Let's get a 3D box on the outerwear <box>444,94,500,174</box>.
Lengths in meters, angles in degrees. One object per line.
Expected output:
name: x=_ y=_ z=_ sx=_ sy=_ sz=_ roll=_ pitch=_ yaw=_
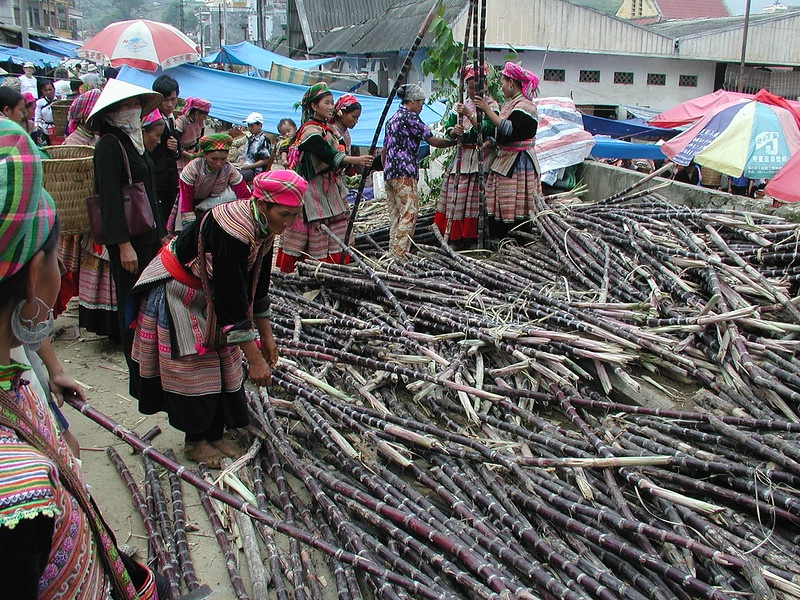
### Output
outerwear: x=0.706 y=-1.599 z=6.223 sx=0.468 sy=1.004 sz=0.523 roll=-5 pitch=8 yaw=3

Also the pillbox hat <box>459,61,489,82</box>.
pillbox hat: x=0.668 y=-2.142 z=6.017 sx=0.280 sy=0.163 sz=0.328 roll=-12 pitch=9 yaw=16

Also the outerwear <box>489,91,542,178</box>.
outerwear: x=1.071 y=-1.598 z=6.290 sx=0.589 sy=0.902 sz=0.783 roll=4 pitch=26 yaw=7

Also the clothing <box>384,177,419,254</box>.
clothing: x=-0.011 y=-0.850 z=6.186 sx=0.249 sy=0.919 sz=0.273 roll=-23 pitch=34 yaw=-35

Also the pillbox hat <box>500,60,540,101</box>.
pillbox hat: x=1.110 y=-2.035 z=6.046 sx=0.256 sy=0.309 sz=0.495 roll=17 pitch=20 yaw=36

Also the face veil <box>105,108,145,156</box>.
face veil: x=-1.776 y=-1.137 z=4.319 sx=0.216 sy=0.212 sz=0.194 roll=10 pitch=23 yaw=36

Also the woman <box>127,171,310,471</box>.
woman: x=-1.059 y=0.168 z=3.699 sx=1.060 sy=1.830 sz=0.713 roll=14 pitch=38 yaw=-4

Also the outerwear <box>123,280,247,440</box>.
outerwear: x=-1.135 y=0.315 z=3.519 sx=0.545 sy=0.772 sz=0.455 roll=22 pitch=46 yaw=14

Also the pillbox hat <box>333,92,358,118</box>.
pillbox hat: x=-0.472 y=-1.694 z=5.700 sx=0.196 sy=0.201 sz=0.175 roll=23 pitch=27 yaw=12

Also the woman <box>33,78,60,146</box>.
woman: x=-6.021 y=-3.229 z=11.235 sx=0.339 sy=1.276 sz=0.392 roll=17 pitch=30 yaw=2

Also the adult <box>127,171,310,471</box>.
adult: x=-1.059 y=0.168 z=3.699 sx=1.060 sy=1.830 sz=0.713 roll=14 pitch=38 yaw=-4

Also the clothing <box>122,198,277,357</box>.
clothing: x=-1.090 y=-0.102 z=3.487 sx=0.596 sy=0.764 sz=0.655 roll=27 pitch=26 yaw=-3

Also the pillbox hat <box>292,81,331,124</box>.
pillbox hat: x=-0.730 y=-1.727 z=5.540 sx=0.275 sy=0.278 sz=0.239 roll=-3 pitch=27 yaw=4

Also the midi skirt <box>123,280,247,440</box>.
midi skirt: x=-1.135 y=0.315 z=3.519 sx=0.545 sy=0.772 sz=0.455 roll=22 pitch=46 yaw=14

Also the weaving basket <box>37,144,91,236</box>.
weaving basket: x=-2.453 y=-0.829 z=4.995 sx=0.468 sy=0.538 sz=0.554 roll=-1 pitch=53 yaw=-21
